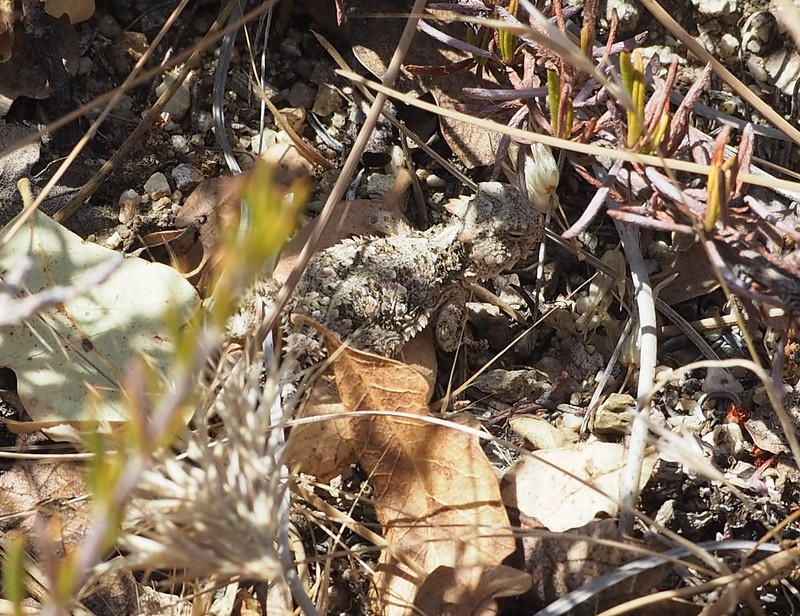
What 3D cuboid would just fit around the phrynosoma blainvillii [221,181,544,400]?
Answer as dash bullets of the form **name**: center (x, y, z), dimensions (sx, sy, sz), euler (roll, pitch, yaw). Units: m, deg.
- **phrynosoma blainvillii**: center (-0.017, -0.031, 2.403), dimensions (0.724, 0.293, 0.530), euler (-18, 71, -16)
